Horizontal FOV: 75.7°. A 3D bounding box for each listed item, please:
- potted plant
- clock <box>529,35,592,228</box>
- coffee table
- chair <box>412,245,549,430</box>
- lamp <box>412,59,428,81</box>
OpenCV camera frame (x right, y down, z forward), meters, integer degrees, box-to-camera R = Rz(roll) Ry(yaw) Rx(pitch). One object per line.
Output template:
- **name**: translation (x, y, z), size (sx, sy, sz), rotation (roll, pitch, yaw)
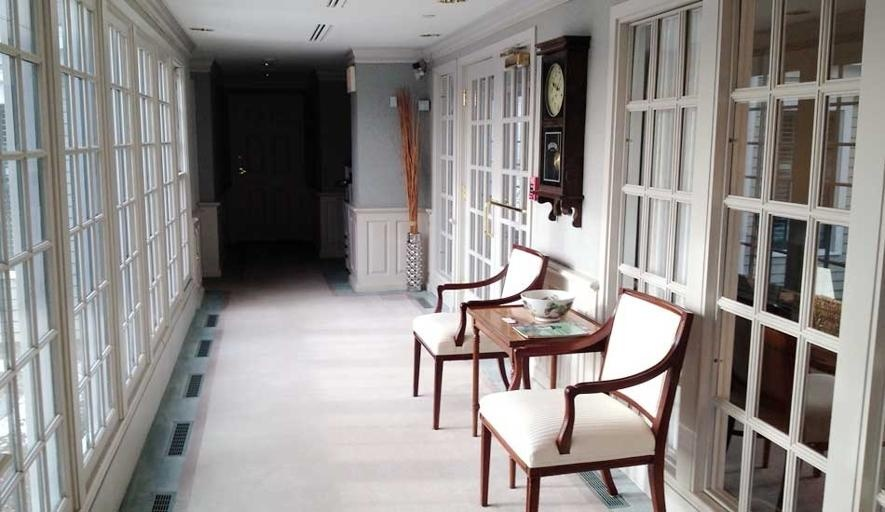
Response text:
- **potted plant**: translation (-0.382, -0.809, 7.244), size (0.275, 2.558, 0.423), rotation (-3, 13, -4)
- **clock**: translation (0.880, -0.898, 4.220), size (0.247, 1.349, 0.465), rotation (-11, 16, -34)
- **coffee table**: translation (0.572, 0.932, 3.728), size (0.880, 0.773, 0.712), rotation (5, -31, 8)
- **chair**: translation (0.293, 0.609, 4.595), size (0.959, 1.255, 0.782), rotation (-2, 7, -17)
- **lamp**: translation (-0.262, -2.288, 7.006), size (0.206, 0.190, 0.060), rotation (-2, 14, 37)
